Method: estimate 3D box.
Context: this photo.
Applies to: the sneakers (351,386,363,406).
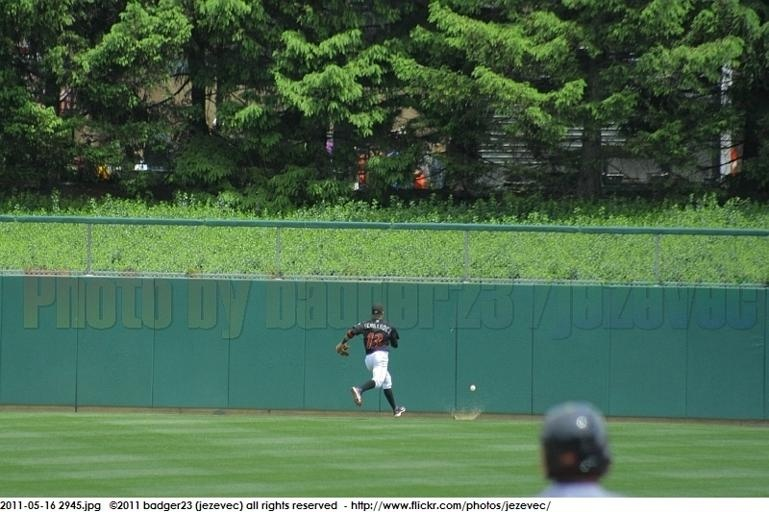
[{"bbox_3d":[-0.691,3.667,49.107,0.266,0.565,0.209,-13,-3,-25],"label":"sneakers"}]
